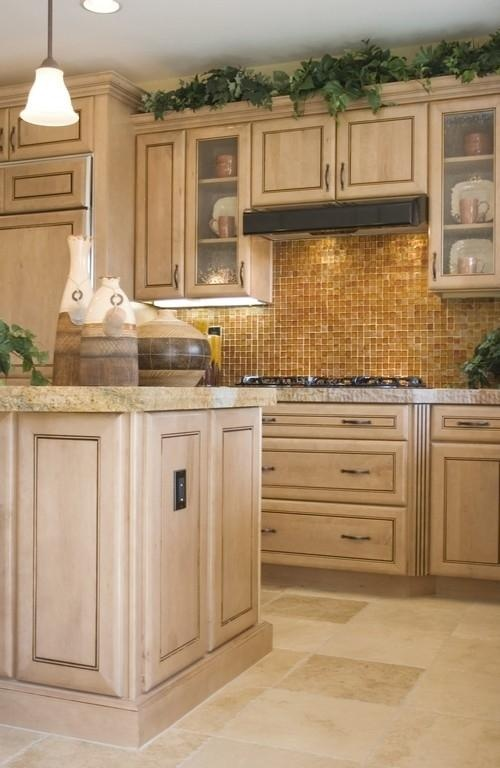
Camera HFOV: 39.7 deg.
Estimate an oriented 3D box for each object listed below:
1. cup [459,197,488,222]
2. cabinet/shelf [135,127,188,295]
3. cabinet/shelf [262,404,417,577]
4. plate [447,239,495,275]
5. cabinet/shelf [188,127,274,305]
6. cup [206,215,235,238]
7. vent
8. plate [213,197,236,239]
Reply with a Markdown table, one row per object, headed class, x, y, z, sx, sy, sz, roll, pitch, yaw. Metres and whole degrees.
| class | x | y | z | sx | sy | sz | roll | pitch | yaw |
| --- | --- | --- | --- | --- | --- | --- | --- | --- | --- |
| cup | 0.980 | -0.764 | 3.033 | 0.126 | 0.113 | 0.078 | 5 | 5 | 45 |
| cabinet/shelf | -0.471 | -0.893 | 3.644 | 0.303 | 0.881 | 0.097 | 0 | -6 | 24 |
| cabinet/shelf | 0.408 | 0.452 | 2.917 | 0.737 | 0.689 | 0.358 | -2 | -7 | 23 |
| plate | 0.977 | -0.560 | 3.037 | 0.188 | 0.132 | 0.121 | 0 | 0 | 17 |
| cabinet/shelf | -0.214 | -0.902 | 3.638 | 0.392 | 0.866 | 0.293 | -7 | 19 | -25 |
| cup | -0.140 | -0.800 | 3.513 | 0.129 | 0.097 | 0.083 | -1 | -1 | 34 |
| vent | 0.386 | -0.786 | 3.243 | 0.873 | 0.178 | 0.155 | 0 | -5 | 24 |
| plate | -0.134 | -0.848 | 3.514 | 0.138 | 0.210 | 0.020 | 0 | -5 | 22 |
